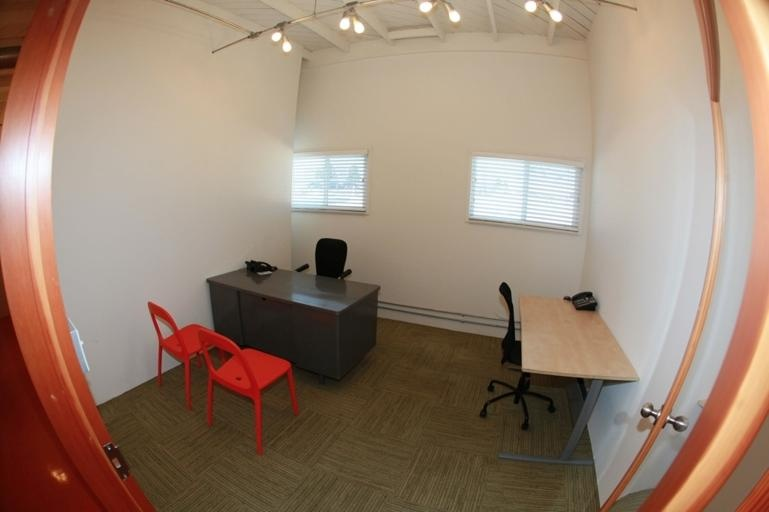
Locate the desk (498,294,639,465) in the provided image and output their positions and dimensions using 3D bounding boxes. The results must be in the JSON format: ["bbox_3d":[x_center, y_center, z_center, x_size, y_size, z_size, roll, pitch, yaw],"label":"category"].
[{"bbox_3d":[1.390,1.096,4.338,0.741,0.868,1.692,26,10,15],"label":"desk"}]

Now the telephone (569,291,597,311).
[{"bbox_3d":[1.929,0.429,4.578,0.169,0.116,0.183,1,10,2],"label":"telephone"}]

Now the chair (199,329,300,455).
[{"bbox_3d":[-1.124,0.995,4.043,0.769,1.051,0.791,-10,26,-28],"label":"chair"}]

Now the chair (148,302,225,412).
[{"bbox_3d":[-1.823,0.812,4.466,0.513,0.954,0.571,17,23,35],"label":"chair"}]
